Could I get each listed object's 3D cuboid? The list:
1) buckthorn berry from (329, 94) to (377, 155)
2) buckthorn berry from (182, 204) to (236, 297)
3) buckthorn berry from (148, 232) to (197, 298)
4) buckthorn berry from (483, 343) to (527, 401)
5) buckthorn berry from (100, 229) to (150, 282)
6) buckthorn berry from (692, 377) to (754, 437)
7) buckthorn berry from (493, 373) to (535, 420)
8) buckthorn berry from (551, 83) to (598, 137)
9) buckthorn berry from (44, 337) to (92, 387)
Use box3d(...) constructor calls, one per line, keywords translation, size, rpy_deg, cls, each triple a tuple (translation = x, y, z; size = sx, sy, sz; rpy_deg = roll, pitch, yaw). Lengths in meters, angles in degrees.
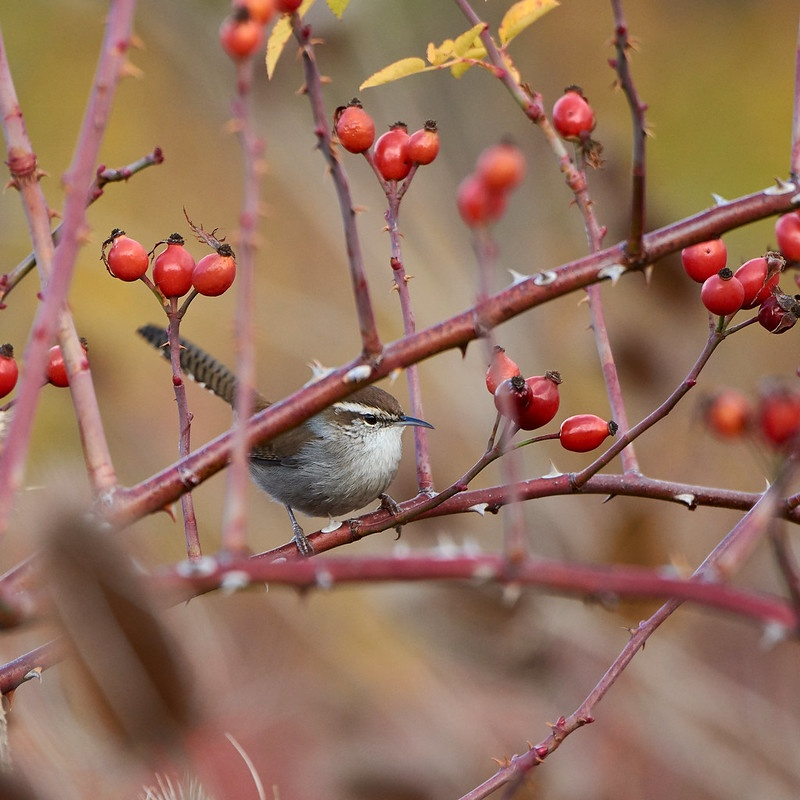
box3d(translation=(-0.135, -0.839, 2.910), size=(0.107, 0.114, 0.157), rpy_deg=(-5, -64, 0), cls="buckthorn berry")
box3d(translation=(-0.521, -0.418, 2.706), size=(0.143, 0.108, 0.251), rpy_deg=(3, -64, -12), cls="buckthorn berry")
box3d(translation=(-0.648, -0.386, 2.715), size=(0.154, 0.163, 0.190), rpy_deg=(6, -70, -6), cls="buckthorn berry")
box3d(translation=(0.250, -0.078, 2.368), size=(0.080, 0.084, 0.123), rpy_deg=(-7, -78, 22), cls="buckthorn berry")
box3d(translation=(-0.791, -0.418, 2.714), size=(0.121, 0.115, 0.160), rpy_deg=(-25, -57, -20), cls="buckthorn berry")
box3d(translation=(0.491, 0.018, 1.429), size=(0.054, 0.076, 0.065), rpy_deg=(-7, -68, 14), cls="buckthorn berry")
box3d(translation=(0.270, -0.010, 2.287), size=(0.097, 0.135, 0.124), rpy_deg=(0, -86, 2), cls="buckthorn berry")
box3d(translation=(0.542, -0.899, 2.981), size=(0.129, 0.143, 0.188), rpy_deg=(4, -94, 2), cls="buckthorn berry")
box3d(translation=(-0.779, -0.089, 2.210), size=(0.069, 0.075, 0.141), rpy_deg=(24, -46, -10), cls="buckthorn berry")
